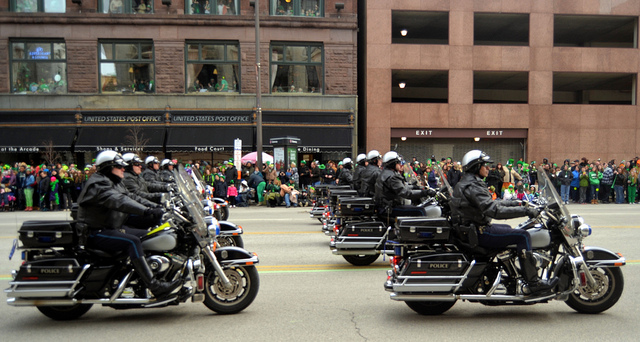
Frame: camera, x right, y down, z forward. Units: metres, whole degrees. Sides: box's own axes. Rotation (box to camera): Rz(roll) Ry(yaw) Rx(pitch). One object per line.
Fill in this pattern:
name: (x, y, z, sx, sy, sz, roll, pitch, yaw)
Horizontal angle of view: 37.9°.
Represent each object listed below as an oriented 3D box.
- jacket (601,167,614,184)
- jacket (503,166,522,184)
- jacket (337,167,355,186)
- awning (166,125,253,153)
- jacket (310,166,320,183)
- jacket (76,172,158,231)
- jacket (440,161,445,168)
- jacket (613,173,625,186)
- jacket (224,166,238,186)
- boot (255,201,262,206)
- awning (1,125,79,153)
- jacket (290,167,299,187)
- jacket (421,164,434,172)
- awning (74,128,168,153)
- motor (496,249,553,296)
jacket: (21.253, 0.331, 68.908, 0.842, 1.286, 1.201, -6, 10, -38)
jacket: (13.943, 0.273, 67.729, 1.265, 0.847, 0.352, 11, -27, -6)
jacket: (1.748, 0.317, 61.844, 0.823, 1.091, 1.474, -2, 3, -29)
awning: (-8.702, -2.543, 74.307, 6.936, 2.620, 2.834, 0, -8, -2)
jacket: (-0.598, 0.207, 68.808, 1.061, 1.400, 1.312, 1, -2, 6)
jacket: (-11.815, 1.657, 51.635, 3.340, 3.212, 0.506, 0, 3, 1)
jacket: (9.262, -0.610, 70.645, 0.144, 0.384, 0.342, 2, 0, 30)
jacket: (22.193, 0.576, 68.891, 1.031, 1.058, 0.754, -4, -12, 26)
jacket: (-6.519, 0.350, 68.399, 1.592, 1.478, 0.883, 1, -8, 1)
boot: (-4.524, 2.377, 68.590, 0.520, 0.228, 0.644, -1, 3, -9)
awning: (-22.344, -2.797, 74.388, 7.623, 1.893, 2.224, -1, 12, -6)
jacket: (-1.824, 0.414, 69.247, 0.475, 1.465, 1.538, 0, 3, 12)
jacket: (7.529, -0.243, 65.505, 0.675, 0.282, 0.830, -2, 1, 0)
awning: (-15.603, -2.494, 73.490, 6.864, 1.906, 1.452, 0, 3, 0)
motor: (11.120, 5.611, 50.482, 3.015, 2.500, 1.186, -1, 3, 4)
